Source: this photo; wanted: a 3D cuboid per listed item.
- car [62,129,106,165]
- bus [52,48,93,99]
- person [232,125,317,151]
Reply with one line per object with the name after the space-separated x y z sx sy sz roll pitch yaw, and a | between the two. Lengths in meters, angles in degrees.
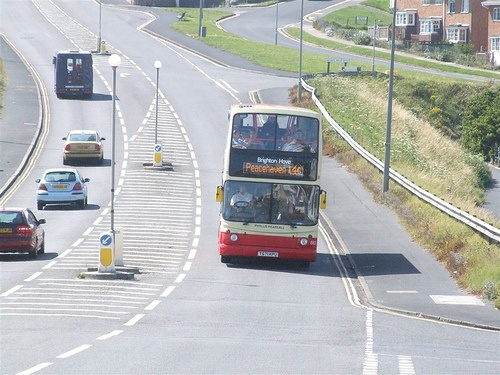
-9.423 -2.098 66.959 2.172 2.202 2.055 -3 12 -15 | car
-12.212 -7.773 82.256 2.214 3.490 2.116 -5 17 -16 | bus
1.082 -2.049 49.935 3.512 1.022 0.494 2 14 0 | person
